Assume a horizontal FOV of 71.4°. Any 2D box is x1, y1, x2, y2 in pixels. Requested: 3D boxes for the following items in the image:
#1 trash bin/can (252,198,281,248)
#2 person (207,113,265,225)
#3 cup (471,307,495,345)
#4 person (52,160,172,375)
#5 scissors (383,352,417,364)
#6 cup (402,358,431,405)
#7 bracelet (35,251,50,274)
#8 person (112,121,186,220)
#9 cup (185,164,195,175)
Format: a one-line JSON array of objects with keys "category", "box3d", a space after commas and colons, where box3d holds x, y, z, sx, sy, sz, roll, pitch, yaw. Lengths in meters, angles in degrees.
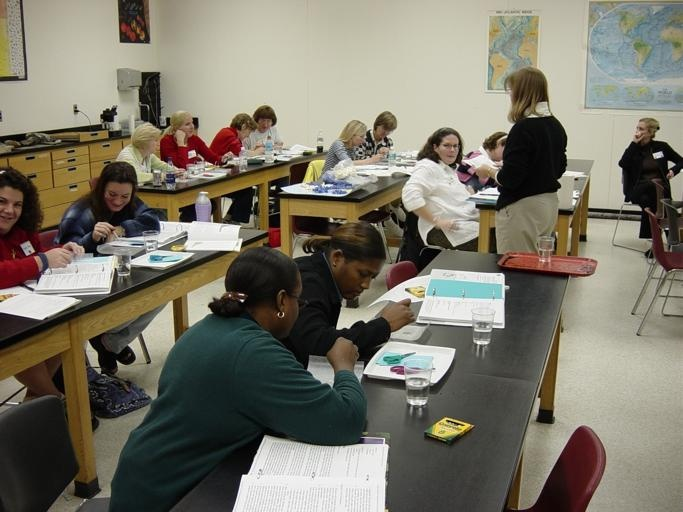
[{"category": "trash bin/can", "box3d": [-1.026, -0.522, 6.493, 0.236, 0.453, 0.443, -11, 1, -36]}, {"category": "person", "box3d": [-1.564, -1.182, 6.747, 0.767, 1.671, 0.710, 7, 6, 15]}, {"category": "cup", "box3d": [0.545, 0.284, 1.868, 0.098, 0.131, 0.097, 4, -8, 1]}, {"category": "person", "box3d": [-1.475, 0.102, 3.141, 0.795, 1.371, 0.614, 4, 10, 9]}, {"category": "scissors", "box3d": [0.205, 0.358, 1.706, 0.121, 0.027, 0.037, -5, 4, -32]}, {"category": "cup", "box3d": [0.231, 0.393, 1.457, 0.086, 0.131, 0.089, 4, -10, 1]}, {"category": "bracelet", "box3d": [-1.497, 0.032, 2.389, 0.073, 0.056, 0.084, 9, 11, -17]}, {"category": "person", "box3d": [-2.060, -1.037, 5.097, 0.714, 0.667, 0.553, 14, 17, -3]}, {"category": "cup", "box3d": [-1.621, -0.934, 5.143, 0.090, 0.109, 0.094, 1, 2, 0]}]
